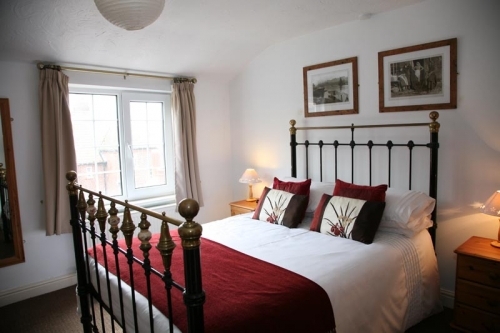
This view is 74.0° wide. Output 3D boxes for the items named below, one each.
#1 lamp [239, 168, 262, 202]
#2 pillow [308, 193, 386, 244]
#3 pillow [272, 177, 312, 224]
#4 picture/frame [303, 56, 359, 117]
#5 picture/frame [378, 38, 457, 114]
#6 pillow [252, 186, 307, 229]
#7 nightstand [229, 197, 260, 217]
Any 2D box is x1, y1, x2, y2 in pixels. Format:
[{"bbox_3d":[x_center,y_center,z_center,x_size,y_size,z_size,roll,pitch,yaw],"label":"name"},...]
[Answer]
[{"bbox_3d":[0.019,0.279,4.801,0.305,0.461,0.303,-2,0,-15],"label":"lamp"},{"bbox_3d":[0.962,0.512,3.250,0.540,0.446,0.157,4,-21,46],"label":"pillow"},{"bbox_3d":[0.501,0.390,3.820,0.482,0.406,0.175,-7,1,42],"label":"pillow"},{"bbox_3d":[1.022,-0.982,4.063,0.064,0.752,0.776,-11,10,-43],"label":"picture/frame"},{"bbox_3d":[1.807,-0.966,3.501,0.785,0.872,0.063,8,6,35],"label":"picture/frame"},{"bbox_3d":[0.290,0.429,3.754,0.596,0.367,0.173,21,-7,-21],"label":"pillow"},{"bbox_3d":[-0.051,0.579,4.693,0.271,0.314,0.314,-4,6,-44],"label":"nightstand"}]
